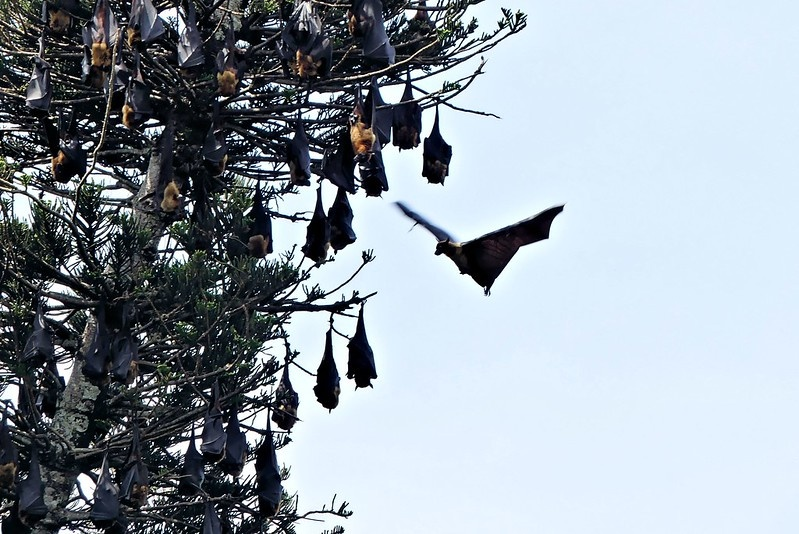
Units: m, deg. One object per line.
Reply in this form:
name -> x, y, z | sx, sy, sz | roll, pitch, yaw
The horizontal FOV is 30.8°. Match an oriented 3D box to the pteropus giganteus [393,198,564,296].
pteropus giganteus -> 1.238, -0.249, 19.841 | 2.719, 0.790, 1.129 | -4, -44, 32
